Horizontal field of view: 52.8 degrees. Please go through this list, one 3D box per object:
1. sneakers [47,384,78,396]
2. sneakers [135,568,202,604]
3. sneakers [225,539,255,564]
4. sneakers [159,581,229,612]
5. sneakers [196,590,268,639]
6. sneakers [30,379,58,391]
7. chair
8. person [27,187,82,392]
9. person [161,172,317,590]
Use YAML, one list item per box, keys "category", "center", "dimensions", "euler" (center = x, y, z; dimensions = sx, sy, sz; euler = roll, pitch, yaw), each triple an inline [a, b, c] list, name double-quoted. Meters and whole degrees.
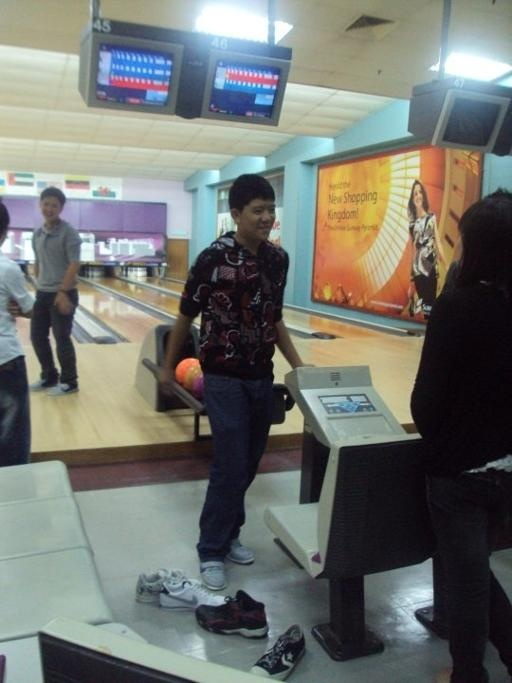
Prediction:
- category: "sneakers"
  center: [-1.217, 0.304, 3.228]
  dimensions: [0.172, 0.069, 0.072]
  euler: [2, 1, -29]
- category: "sneakers"
  center: [-0.260, 0.691, 1.466]
  dimensions: [0.217, 0.090, 0.078]
  euler: [5, 23, -11]
- category: "sneakers"
  center: [-0.051, 0.684, 1.680]
  dimensions: [0.042, 0.047, 0.121]
  euler: [2, -5, -27]
- category: "sneakers"
  center: [-0.181, 0.692, 1.435]
  dimensions: [0.219, 0.083, 0.075]
  euler: [2, -1, -5]
- category: "sneakers"
  center: [-0.053, 0.707, 1.356]
  dimensions: [0.202, 0.114, 0.078]
  euler: [6, -14, 6]
- category: "sneakers"
  center: [-1.386, 0.281, 3.328]
  dimensions: [0.174, 0.068, 0.064]
  euler: [1, 4, -31]
- category: "chair"
  center: [0.193, 0.469, 1.359]
  dimensions: [0.301, 0.617, 0.504]
  euler: [-4, 11, -24]
- category: "person"
  center: [-1.218, -0.284, 3.133]
  dimensions: [0.319, 1.247, 0.583]
  euler: [-3, 11, -23]
- category: "person"
  center: [-0.068, 0.109, 1.582]
  dimensions: [0.436, 1.204, 0.349]
  euler: [-1, 10, -10]
